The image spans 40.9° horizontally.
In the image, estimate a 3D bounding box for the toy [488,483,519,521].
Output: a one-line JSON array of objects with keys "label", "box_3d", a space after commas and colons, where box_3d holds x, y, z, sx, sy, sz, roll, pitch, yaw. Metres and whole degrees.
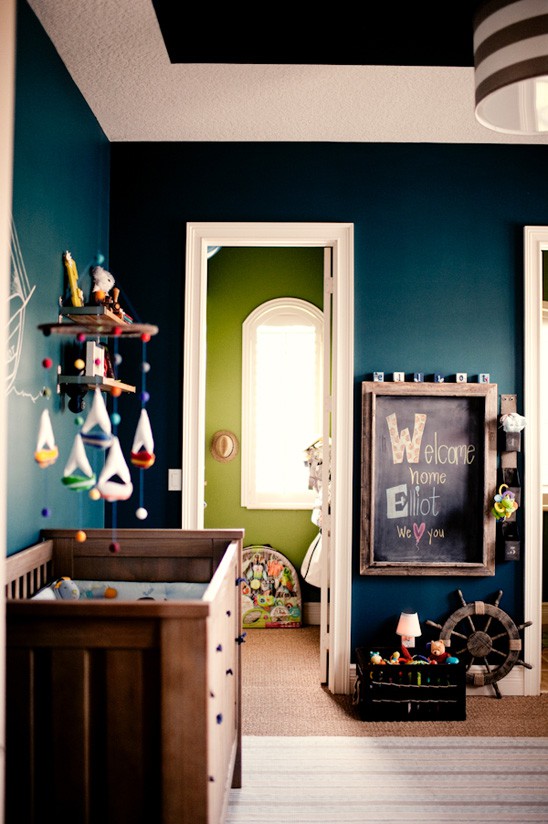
[{"label": "toy", "box_3d": [0.986, 0.388, 3.139, 0.112, 0.163, 0.081, -1, -8, 14]}]

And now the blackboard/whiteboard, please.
[{"label": "blackboard/whiteboard", "box_3d": [0.656, 0.319, 3.183, 0.746, 1.125, 0.089, 1, -3, -3]}]

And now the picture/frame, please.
[{"label": "picture/frame", "box_3d": [0.655, 0.316, 3.183, 0.769, 1.159, 0.091, 1, -3, -3]}]
